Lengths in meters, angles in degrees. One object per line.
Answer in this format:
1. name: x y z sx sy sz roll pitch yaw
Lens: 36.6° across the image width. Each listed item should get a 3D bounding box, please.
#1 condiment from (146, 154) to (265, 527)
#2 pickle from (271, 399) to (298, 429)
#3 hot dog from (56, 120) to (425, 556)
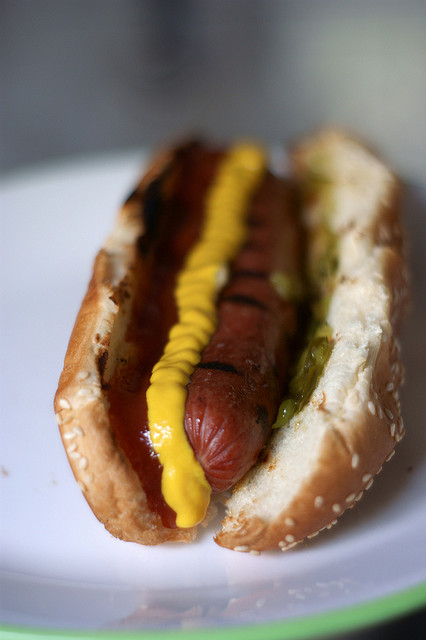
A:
1. condiment: -0.013 -0.020 0.675 0.088 0.070 0.450 -3 55 23
2. pickle: 0.076 0.098 0.678 0.015 0.014 0.046 41 66 18
3. hot dog: 0.038 0.021 0.636 0.344 0.155 0.515 3 45 6
